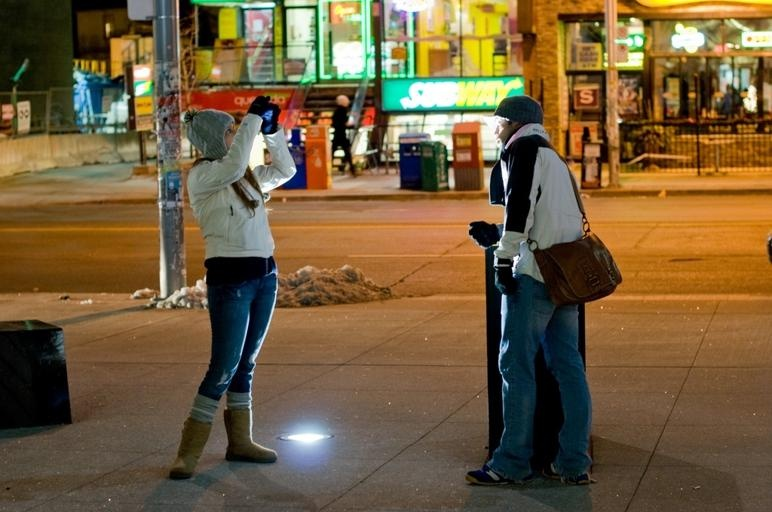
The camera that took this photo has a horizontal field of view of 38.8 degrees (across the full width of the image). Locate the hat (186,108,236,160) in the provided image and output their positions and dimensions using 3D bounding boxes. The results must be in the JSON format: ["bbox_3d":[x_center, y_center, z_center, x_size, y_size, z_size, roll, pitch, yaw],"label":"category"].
[{"bbox_3d":[-1.475,-1.067,9.475,0.488,0.468,0.353,-7,7,8],"label":"hat"}]

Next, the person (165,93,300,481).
[{"bbox_3d":[-1.339,0.238,9.398,1.263,3.162,0.736,-6,10,-30],"label":"person"}]

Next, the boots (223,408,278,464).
[{"bbox_3d":[-1.082,1.581,9.421,0.634,0.582,0.284,2,0,-7],"label":"boots"}]

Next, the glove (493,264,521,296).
[{"bbox_3d":[0.977,0.193,8.910,0.188,0.281,0.175,-21,-6,30],"label":"glove"}]

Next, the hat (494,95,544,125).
[{"bbox_3d":[1.104,-1.210,9.107,0.329,0.167,0.232,5,8,19],"label":"hat"}]

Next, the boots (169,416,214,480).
[{"bbox_3d":[-1.641,1.637,9.269,0.217,0.455,0.603,11,2,3],"label":"boots"}]

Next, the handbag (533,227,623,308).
[{"bbox_3d":[1.575,0.070,9.039,0.689,0.660,0.344,-17,-6,-30],"label":"handbag"}]

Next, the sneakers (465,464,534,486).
[{"bbox_3d":[0.929,1.837,9.120,0.536,0.222,0.195,4,-1,-3],"label":"sneakers"}]
